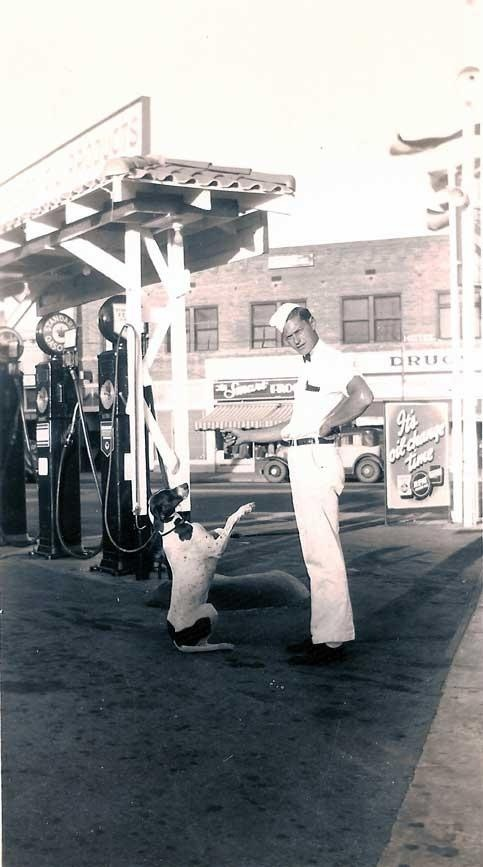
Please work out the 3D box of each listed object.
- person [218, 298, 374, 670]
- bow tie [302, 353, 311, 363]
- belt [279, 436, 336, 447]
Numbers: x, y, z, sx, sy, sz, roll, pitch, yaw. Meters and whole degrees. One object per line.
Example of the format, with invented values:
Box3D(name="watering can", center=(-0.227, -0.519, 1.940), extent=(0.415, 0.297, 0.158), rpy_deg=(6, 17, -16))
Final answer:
Box3D(name="person", center=(0.444, 0.230, 5.599), extent=(0.539, 1.902, 0.233), rpy_deg=(1, 2, 37))
Box3D(name="bow tie", center=(0.370, -0.429, 5.666), extent=(0.041, 0.056, 0.055), rpy_deg=(-1, -8, 11))
Box3D(name="belt", center=(0.358, 0.040, 5.672), extent=(0.388, 0.057, 0.249), rpy_deg=(1, 2, 30))
